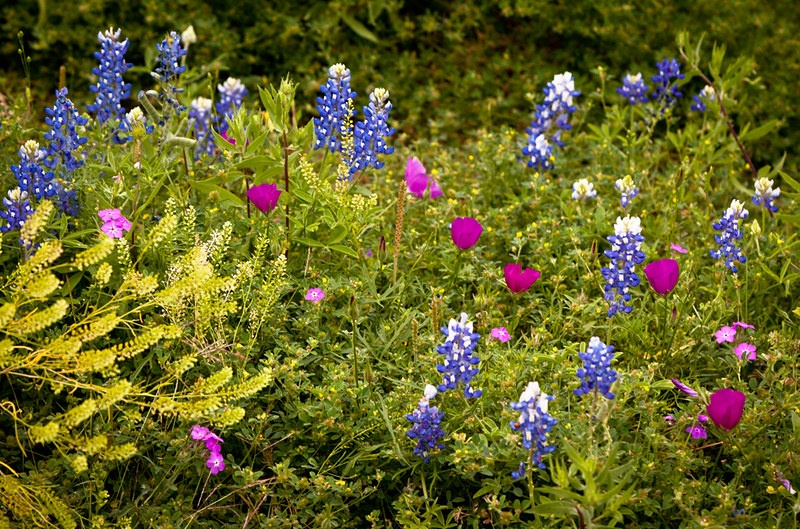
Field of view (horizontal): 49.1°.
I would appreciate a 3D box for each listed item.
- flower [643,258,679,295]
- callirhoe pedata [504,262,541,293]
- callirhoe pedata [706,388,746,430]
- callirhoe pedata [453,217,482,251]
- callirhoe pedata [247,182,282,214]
[{"bbox_3d":[1.140,0.048,3.824,0.131,0.134,0.154,-7,87,11],"label":"flower"},{"bbox_3d":[0.552,0.061,3.978,0.121,0.131,0.085,17,84,-31],"label":"callirhoe pedata"},{"bbox_3d":[1.326,0.581,3.582,0.143,0.151,0.149,-4,29,7],"label":"callirhoe pedata"},{"bbox_3d":[0.304,-0.137,3.972,0.109,0.134,0.139,3,86,0],"label":"callirhoe pedata"},{"bbox_3d":[-0.624,-0.324,4.116,0.133,0.140,0.123,-29,91,17],"label":"callirhoe pedata"}]
